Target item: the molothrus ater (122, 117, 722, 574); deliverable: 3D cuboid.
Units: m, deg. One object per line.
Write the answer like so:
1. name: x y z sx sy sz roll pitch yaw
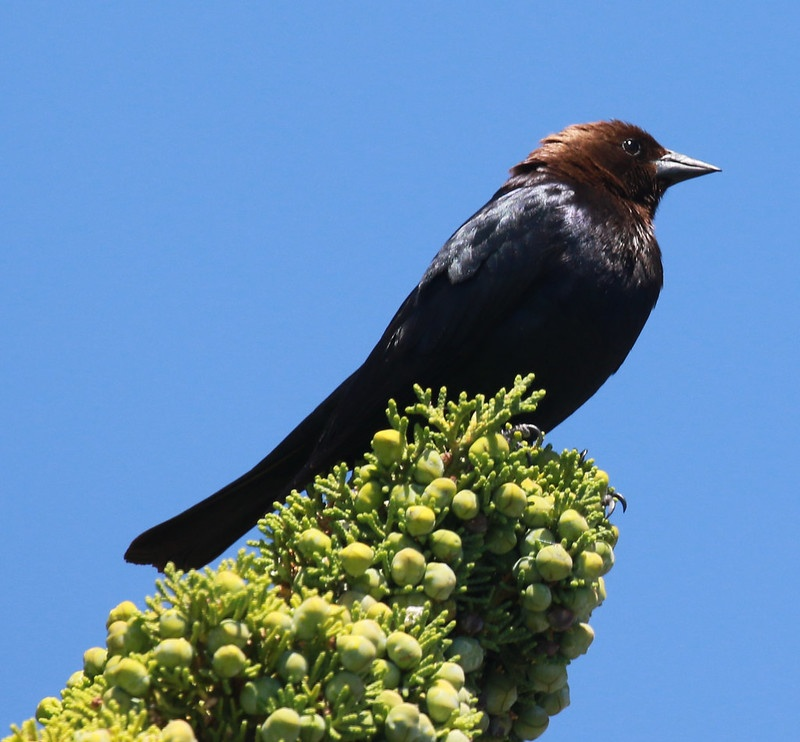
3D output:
1. molothrus ater: 0.103 -0.109 5.851 1.873 1.368 0.743 -7 -26 16
